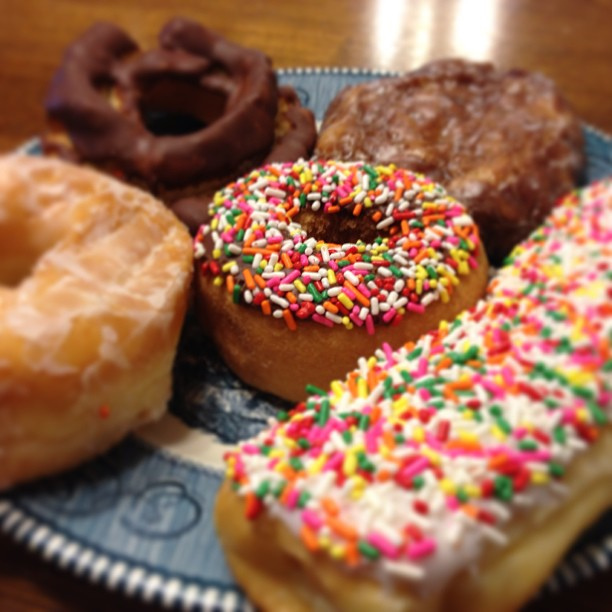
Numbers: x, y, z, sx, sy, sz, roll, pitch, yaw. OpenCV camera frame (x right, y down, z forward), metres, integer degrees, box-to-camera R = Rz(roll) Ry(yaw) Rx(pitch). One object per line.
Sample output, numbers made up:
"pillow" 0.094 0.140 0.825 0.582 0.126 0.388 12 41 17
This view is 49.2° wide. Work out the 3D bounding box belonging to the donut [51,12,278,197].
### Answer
"donut" -0.321 -0.455 1.604 0.559 0.234 0.578 2 38 -10
